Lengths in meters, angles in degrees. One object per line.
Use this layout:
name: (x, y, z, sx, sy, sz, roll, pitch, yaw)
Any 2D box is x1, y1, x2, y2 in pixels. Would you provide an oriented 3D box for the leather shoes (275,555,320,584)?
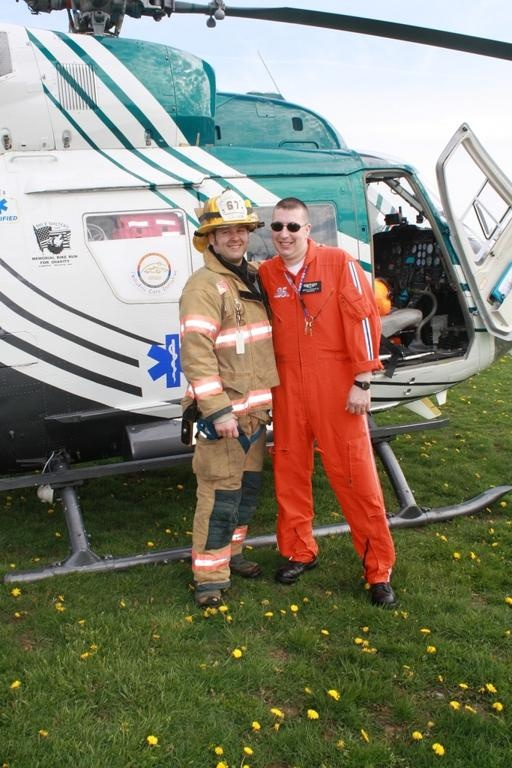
leather shoes: (0.255, 1.077, 3.823, 0.273, 0.102, 0.097, 0, 0, -44)

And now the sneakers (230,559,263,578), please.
sneakers: (-0.061, 1.070, 3.821, 0.230, 0.096, 0.078, 1, 5, 14)

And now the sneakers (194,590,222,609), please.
sneakers: (-0.244, 1.110, 3.418, 0.134, 0.116, 0.076, -4, -22, 2)

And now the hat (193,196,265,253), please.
hat: (-0.168, -0.843, 3.409, 0.353, 0.297, 0.317, 2, 11, 7)

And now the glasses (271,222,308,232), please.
glasses: (0.163, -0.799, 3.354, 0.163, 0.052, 0.079, 1, 10, 0)
